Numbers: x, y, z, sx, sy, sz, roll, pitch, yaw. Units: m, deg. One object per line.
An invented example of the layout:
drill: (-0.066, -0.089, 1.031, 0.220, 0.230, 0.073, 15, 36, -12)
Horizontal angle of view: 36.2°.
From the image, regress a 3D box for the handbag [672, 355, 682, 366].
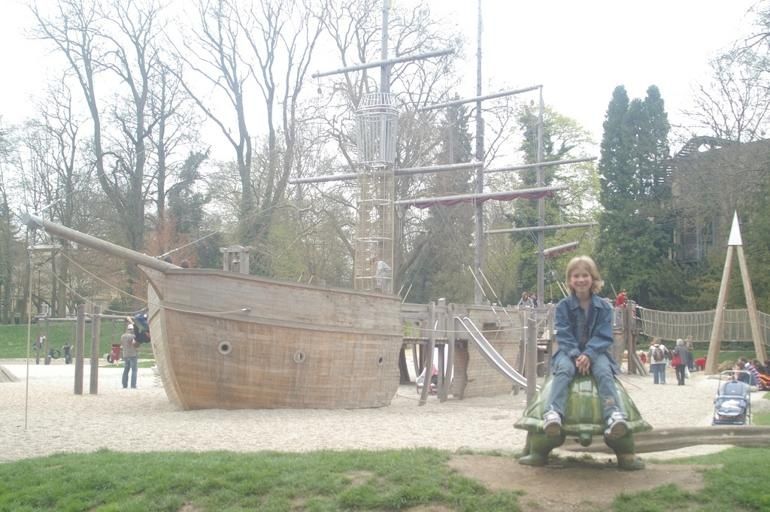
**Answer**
handbag: (13.640, 4.944, 54.799, 0.285, 0.577, 0.513, 2, -5, -17)

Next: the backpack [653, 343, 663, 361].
backpack: (12.855, 4.627, 55.023, 0.451, 0.656, 0.658, -2, -16, 12)

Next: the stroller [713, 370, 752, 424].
stroller: (12.963, 5.496, 43.889, 1.330, 1.542, 1.008, -2, -5, 13)
